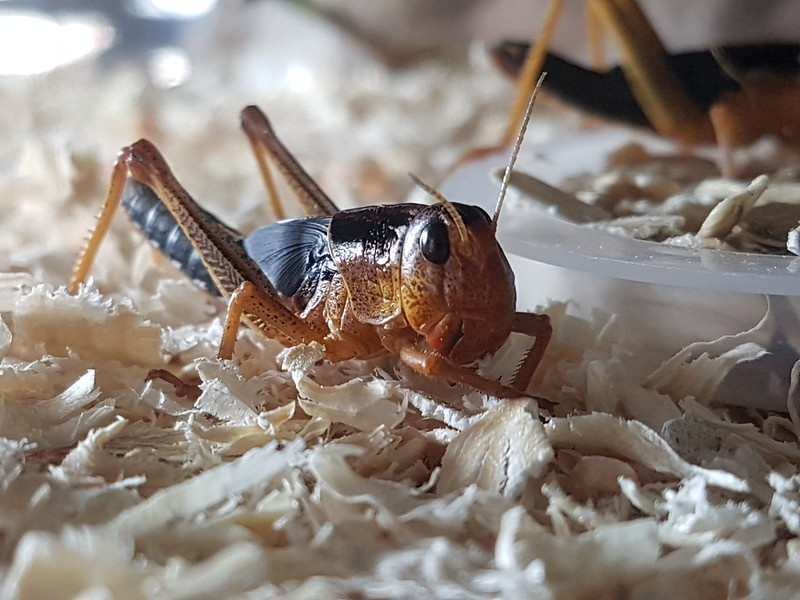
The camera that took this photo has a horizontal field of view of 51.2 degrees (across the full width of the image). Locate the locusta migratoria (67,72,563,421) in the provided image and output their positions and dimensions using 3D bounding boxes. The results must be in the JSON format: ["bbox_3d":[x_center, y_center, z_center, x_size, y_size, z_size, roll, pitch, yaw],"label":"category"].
[{"bbox_3d":[-0.097,-0.047,0.971,0.530,0.376,0.183,-15,5,35],"label":"locusta migratoria"}]
